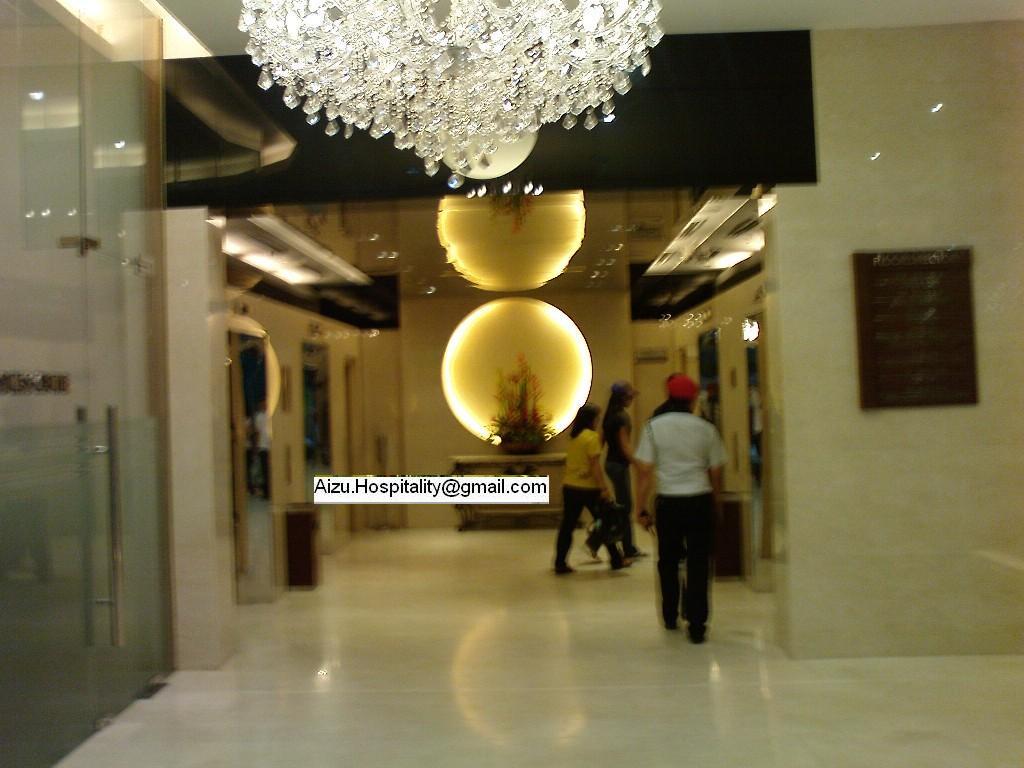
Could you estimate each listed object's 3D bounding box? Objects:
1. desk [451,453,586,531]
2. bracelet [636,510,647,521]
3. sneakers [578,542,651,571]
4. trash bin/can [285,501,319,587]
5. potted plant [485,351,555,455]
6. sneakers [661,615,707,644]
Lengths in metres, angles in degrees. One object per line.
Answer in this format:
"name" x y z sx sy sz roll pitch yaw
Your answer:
"desk" 0.013 0.723 5.709 0.846 0.556 0.374 -3 -10 27
"bracelet" 0.823 0.816 5.544 0.055 0.057 0.054 1 7 7
"sneakers" 0.673 1.078 5.662 0.472 0.223 0.152 -2 -1 -3
"trash bin/can" -1.301 1.071 5.756 0.171 0.481 0.235 8 -15 13
"potted plant" 0.041 0.115 5.614 0.475 0.740 0.524 0 1 24
"sneakers" 1.076 1.509 5.501 0.193 0.050 0.125 5 7 24
